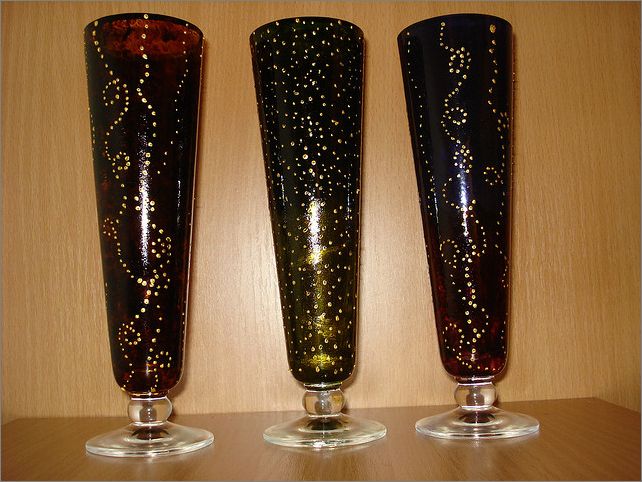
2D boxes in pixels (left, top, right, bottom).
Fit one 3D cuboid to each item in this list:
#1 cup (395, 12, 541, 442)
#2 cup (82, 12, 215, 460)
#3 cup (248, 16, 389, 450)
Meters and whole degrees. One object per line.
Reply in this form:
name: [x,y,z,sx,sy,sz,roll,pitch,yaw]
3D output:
cup: [0.201,-0.030,0.854,0.169,0.581,0.122,-2,3,7]
cup: [-0.235,-0.016,0.821,0.177,0.583,0.111,-3,3,-10]
cup: [-0.006,-0.036,0.861,0.159,0.551,0.093,-3,3,-6]
